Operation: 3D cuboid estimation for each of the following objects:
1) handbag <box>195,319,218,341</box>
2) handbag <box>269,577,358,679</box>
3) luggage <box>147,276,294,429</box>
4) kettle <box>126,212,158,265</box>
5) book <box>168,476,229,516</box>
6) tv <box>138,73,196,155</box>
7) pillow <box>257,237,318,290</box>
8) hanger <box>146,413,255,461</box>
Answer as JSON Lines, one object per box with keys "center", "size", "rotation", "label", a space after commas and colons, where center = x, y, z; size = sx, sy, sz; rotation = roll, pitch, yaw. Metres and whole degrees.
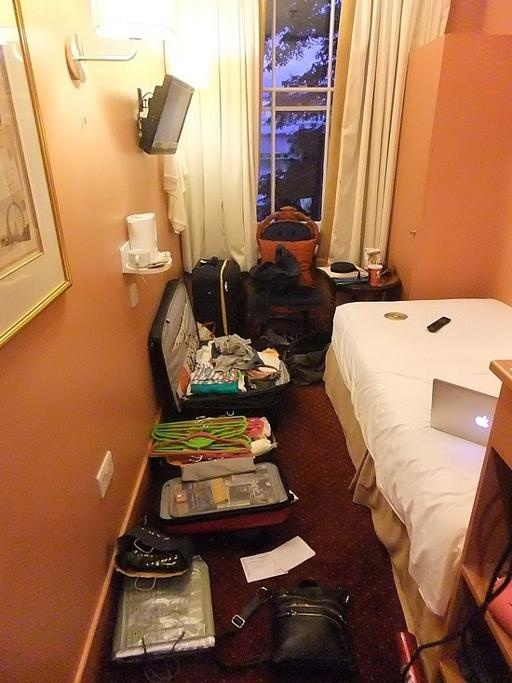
{"center": [-0.347, -0.066, 3.379], "size": [0.106, 0.043, 0.144], "rotation": [1, 62, -33], "label": "handbag"}
{"center": [0.182, 0.913, 1.585], "size": [0.267, 0.120, 0.297], "rotation": [0, 28, 5], "label": "handbag"}
{"center": [-0.164, 0.196, 2.729], "size": [0.707, 0.603, 0.922], "rotation": [-1, 28, -1], "label": "luggage"}
{"center": [-0.474, -0.414, 1.994], "size": [0.128, 0.238, 0.157], "rotation": [-2, 29, -3], "label": "kettle"}
{"center": [-0.234, 0.624, 1.962], "size": [0.160, 0.054, 0.119], "rotation": [-3, 26, -1], "label": "book"}
{"center": [-0.419, -1.029, 2.278], "size": [0.261, 0.352, 0.590], "rotation": [-5, 27, -4], "label": "tv"}
{"center": [0.222, -0.577, 3.618], "size": [0.424, 0.394, 0.143], "rotation": [0, 3, 7], "label": "pillow"}
{"center": [-0.261, 0.444, 2.304], "size": [0.356, 0.065, 0.199], "rotation": [-3, 30, 3], "label": "hanger"}
